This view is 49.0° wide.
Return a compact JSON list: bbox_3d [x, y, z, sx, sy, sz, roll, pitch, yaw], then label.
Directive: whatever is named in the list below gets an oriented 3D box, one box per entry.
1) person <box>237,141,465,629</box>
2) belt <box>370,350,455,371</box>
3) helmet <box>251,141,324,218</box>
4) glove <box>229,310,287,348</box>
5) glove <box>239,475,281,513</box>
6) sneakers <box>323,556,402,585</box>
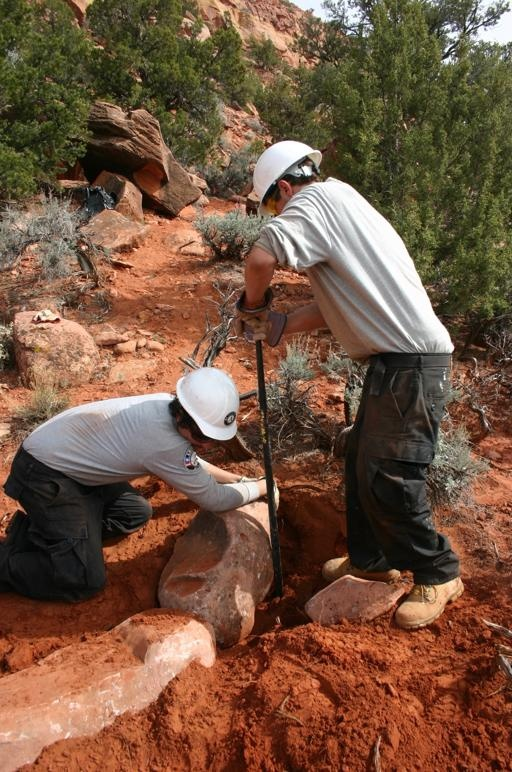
[{"bbox_3d":[0.439,0.032,2.586,0.985,2.312,0.814,5,15,30],"label":"person"},{"bbox_3d":[0.663,-0.105,2.404,0.341,0.087,0.155,0,13,10],"label":"belt"},{"bbox_3d":[0.165,-1.022,2.675,0.209,0.351,0.271,42,-5,15],"label":"helmet"},{"bbox_3d":[0.021,-0.307,2.888,0.180,0.123,0.221,-37,41,-17],"label":"glove"},{"bbox_3d":[0.049,0.606,3.140,0.271,0.109,0.157,-2,14,-28],"label":"glove"},{"bbox_3d":[0.530,0.998,3.016,0.449,0.172,0.167,-6,3,24],"label":"sneakers"}]
